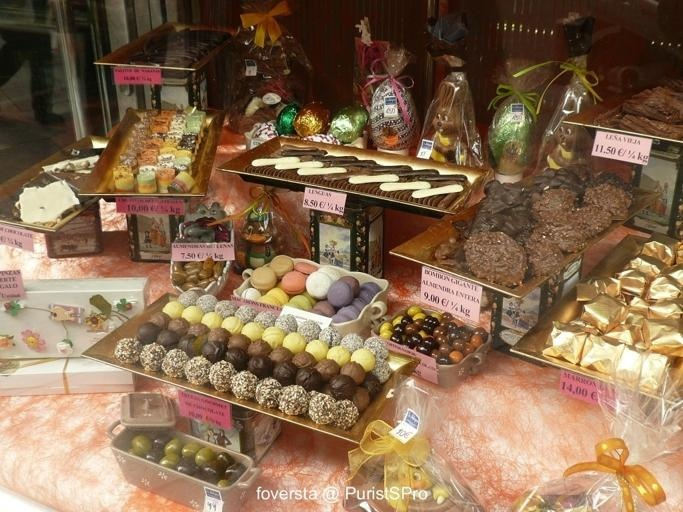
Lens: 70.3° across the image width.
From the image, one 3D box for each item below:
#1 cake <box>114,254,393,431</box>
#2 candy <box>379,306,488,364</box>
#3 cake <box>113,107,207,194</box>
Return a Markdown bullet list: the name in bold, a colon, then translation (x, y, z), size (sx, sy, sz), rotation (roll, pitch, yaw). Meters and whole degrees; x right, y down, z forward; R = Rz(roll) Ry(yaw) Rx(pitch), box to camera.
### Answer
- **cake**: translation (-0.143, 0.180, 1.525), size (0.716, 0.294, 0.528), rotation (10, 26, 30)
- **candy**: translation (0.255, 0.266, 1.682), size (0.246, 0.068, 0.181), rotation (22, 36, 38)
- **cake**: translation (-0.781, -0.500, 2.270), size (0.351, 0.072, 0.506), rotation (3, 39, 5)
